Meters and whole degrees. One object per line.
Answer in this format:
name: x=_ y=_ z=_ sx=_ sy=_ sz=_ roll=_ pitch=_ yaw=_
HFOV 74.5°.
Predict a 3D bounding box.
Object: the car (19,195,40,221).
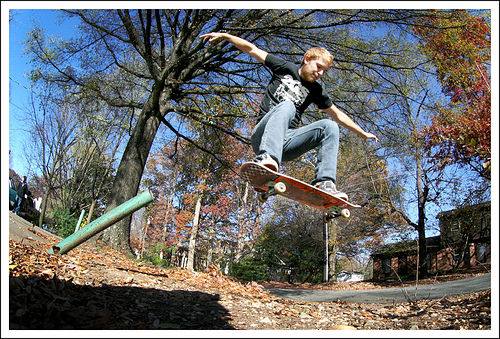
car: x=-10.617 y=1.823 z=16.000 sx=1.118 sy=1.034 sz=2.116 roll=14 pitch=-11 yaw=-40
